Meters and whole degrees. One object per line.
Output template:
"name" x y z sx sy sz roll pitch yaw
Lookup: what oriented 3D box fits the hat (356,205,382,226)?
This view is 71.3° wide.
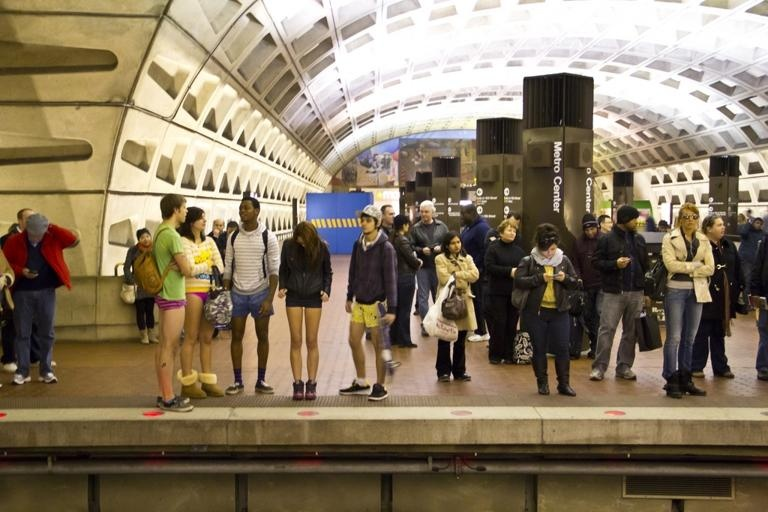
"hat" -0.153 -0.618 8.036 0.318 0.168 0.227 29 -7 -38

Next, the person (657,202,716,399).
"person" 4.445 0.613 7.953 0.842 2.804 0.493 1 -2 -13

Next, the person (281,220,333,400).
"person" -1.183 0.774 7.892 0.697 2.547 0.596 -1 -3 44

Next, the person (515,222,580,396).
"person" 2.402 0.765 7.975 0.895 2.488 0.481 0 -2 19

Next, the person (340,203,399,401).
"person" -0.224 0.651 7.958 0.830 2.839 0.627 -1 -2 33

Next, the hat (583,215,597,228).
"hat" 3.840 -0.650 9.982 0.228 0.280 0.290 -10 7 -1

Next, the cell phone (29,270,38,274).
"cell phone" -5.562 0.263 8.488 0.091 0.071 0.047 1 -1 -32

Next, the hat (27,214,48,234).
"hat" -5.486 -0.501 8.462 0.285 0.339 0.265 1 -1 -27

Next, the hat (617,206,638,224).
"hat" 3.855 -0.661 8.541 0.325 0.295 0.296 0 -1 32

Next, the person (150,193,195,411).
"person" -2.855 0.602 7.237 0.540 2.900 0.512 1 -2 -26
